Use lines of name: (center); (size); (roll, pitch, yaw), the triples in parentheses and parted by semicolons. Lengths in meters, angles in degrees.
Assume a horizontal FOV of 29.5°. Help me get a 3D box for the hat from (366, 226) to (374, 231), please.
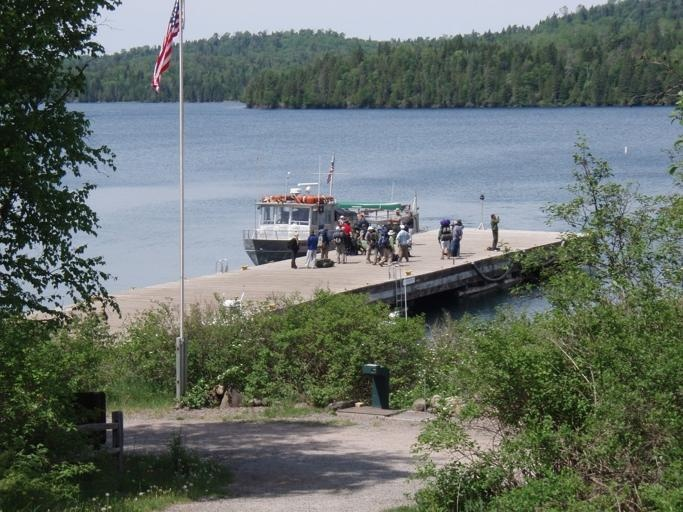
hat: (0.984, -0.999, 45.342); (0.229, 0.138, 0.349); (0, -1, -2)

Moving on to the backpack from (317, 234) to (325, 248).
backpack: (-0.670, -0.521, 42.913); (0.186, 0.432, 0.514); (-1, 9, -14)

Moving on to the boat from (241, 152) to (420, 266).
boat: (-0.351, -1.933, 52.811); (3.318, 5.275, 10.661); (1, 3, 32)
